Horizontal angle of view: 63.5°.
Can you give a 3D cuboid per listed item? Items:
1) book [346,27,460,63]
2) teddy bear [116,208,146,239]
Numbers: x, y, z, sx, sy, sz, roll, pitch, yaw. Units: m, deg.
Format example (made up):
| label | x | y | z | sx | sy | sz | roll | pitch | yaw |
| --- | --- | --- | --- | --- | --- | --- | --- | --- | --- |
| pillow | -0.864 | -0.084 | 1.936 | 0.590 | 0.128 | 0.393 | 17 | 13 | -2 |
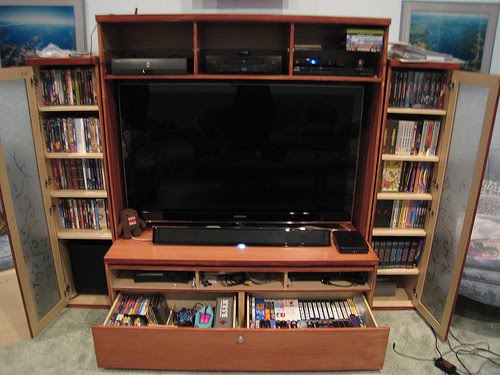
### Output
| label | x | y | z | sx | sy | sz | roll | pitch | yaw |
| --- | --- | --- | --- | --- | --- | --- | --- | --- | --- |
| book | 1.032 | -0.968 | 2.797 | 0.781 | 0.213 | 0.213 | -1 | 10 | -7 |
| teddy bear | -0.907 | 0.272 | 3.038 | 0.208 | 0.202 | 0.118 | -7 | 10 | -37 |
